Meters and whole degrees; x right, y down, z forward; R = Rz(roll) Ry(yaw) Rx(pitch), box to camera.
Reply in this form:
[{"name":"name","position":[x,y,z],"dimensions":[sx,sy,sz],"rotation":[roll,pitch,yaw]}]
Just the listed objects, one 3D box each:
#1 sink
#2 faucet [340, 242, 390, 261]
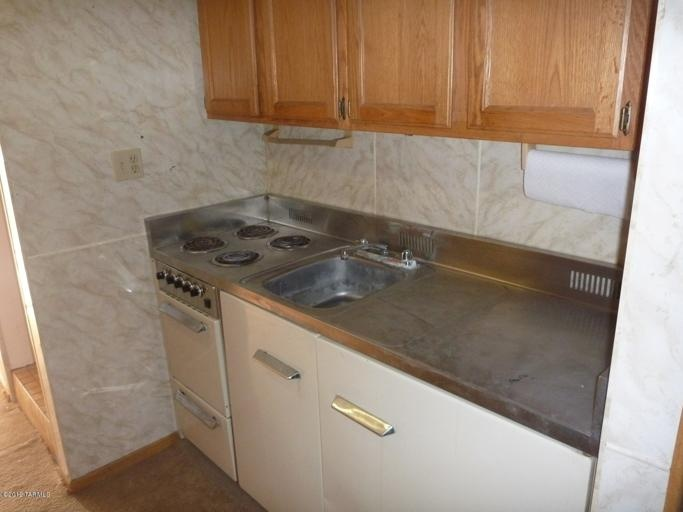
[{"name":"sink","position":[0.011,0.100,2.299],"dimensions":[0.516,0.193,0.344],"rotation":[-26,33,-38]},{"name":"faucet","position":[0.109,-0.025,2.381],"dimensions":[0.138,0.029,0.099],"rotation":[11,20,37]}]
